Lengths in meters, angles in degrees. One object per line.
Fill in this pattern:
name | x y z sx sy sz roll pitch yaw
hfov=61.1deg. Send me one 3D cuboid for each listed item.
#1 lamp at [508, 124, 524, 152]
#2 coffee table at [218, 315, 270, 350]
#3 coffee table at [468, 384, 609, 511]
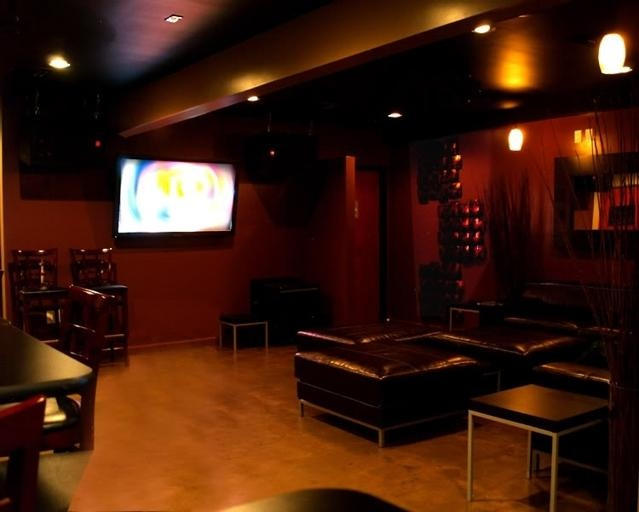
lamp | 2.157 -1.292 5.982 0.127 0.273 0.286 0 4 -1
coffee table | -0.962 0.885 6.702 0.465 0.370 0.451 -1 -1 43
coffee table | 1.208 1.069 3.016 0.606 0.531 0.683 4 5 44
